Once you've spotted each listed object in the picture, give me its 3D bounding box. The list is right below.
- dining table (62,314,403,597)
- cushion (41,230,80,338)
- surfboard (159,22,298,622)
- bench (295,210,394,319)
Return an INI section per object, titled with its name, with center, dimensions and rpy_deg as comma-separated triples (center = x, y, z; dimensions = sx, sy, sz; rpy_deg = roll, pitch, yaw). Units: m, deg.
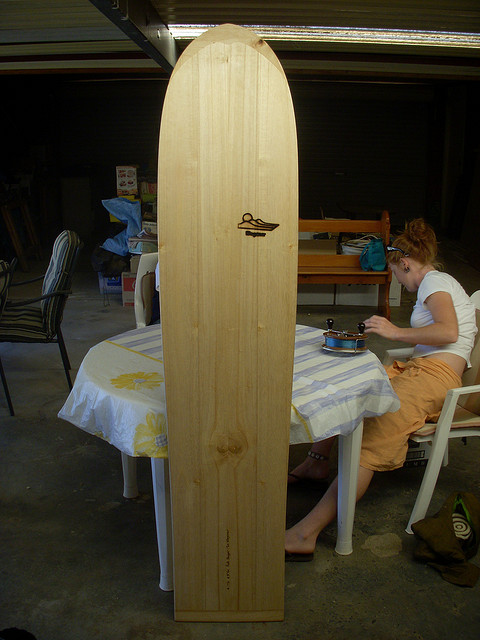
[dining table]
center = 0.023, 0.557, 1.947
dimensions = 1.059, 0.579, 1.022
rpy_deg = 2, 21, 7
[cushion]
center = -1.237, -0.257, 3.731
dimensions = 0.204, 0.738, 0.440
rpy_deg = 15, 4, -31
[surfboard]
center = -0.027, 0.075, 1.475
dimensions = 0.397, 1.599, 0.054
rpy_deg = -1, 7, -15
[bench]
center = 1.092, -0.514, 5.662
dimensions = 1.336, 0.980, 0.504
rpy_deg = 0, 12, 3
